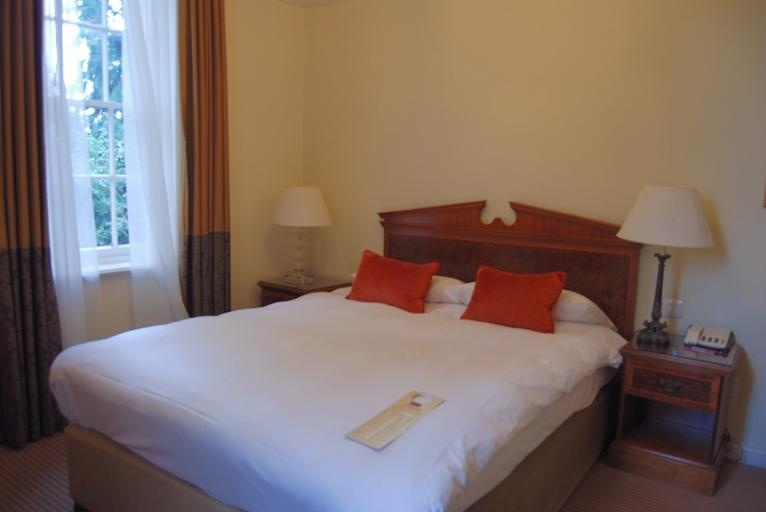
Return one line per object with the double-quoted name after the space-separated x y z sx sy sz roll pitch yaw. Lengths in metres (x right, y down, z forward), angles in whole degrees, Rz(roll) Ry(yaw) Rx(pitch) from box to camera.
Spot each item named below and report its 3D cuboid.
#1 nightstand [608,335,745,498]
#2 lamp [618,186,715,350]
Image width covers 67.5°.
2.078 1.053 4.101 0.723 0.943 0.688 11 16 33 "nightstand"
1.978 0.048 4.131 0.606 1.095 0.460 6 14 18 "lamp"
